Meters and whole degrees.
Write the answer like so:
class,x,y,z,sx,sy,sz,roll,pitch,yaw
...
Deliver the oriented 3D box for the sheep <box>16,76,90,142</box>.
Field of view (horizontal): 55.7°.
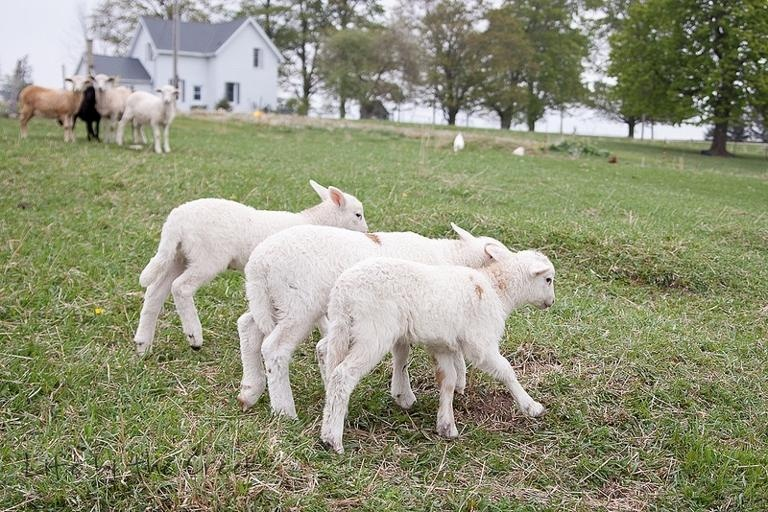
class,x,y,z,sx,sy,sz,roll,pitch,yaw
sheep,-9.219,-4.202,20.414,1.838,1.673,2.193,-1,14,-25
